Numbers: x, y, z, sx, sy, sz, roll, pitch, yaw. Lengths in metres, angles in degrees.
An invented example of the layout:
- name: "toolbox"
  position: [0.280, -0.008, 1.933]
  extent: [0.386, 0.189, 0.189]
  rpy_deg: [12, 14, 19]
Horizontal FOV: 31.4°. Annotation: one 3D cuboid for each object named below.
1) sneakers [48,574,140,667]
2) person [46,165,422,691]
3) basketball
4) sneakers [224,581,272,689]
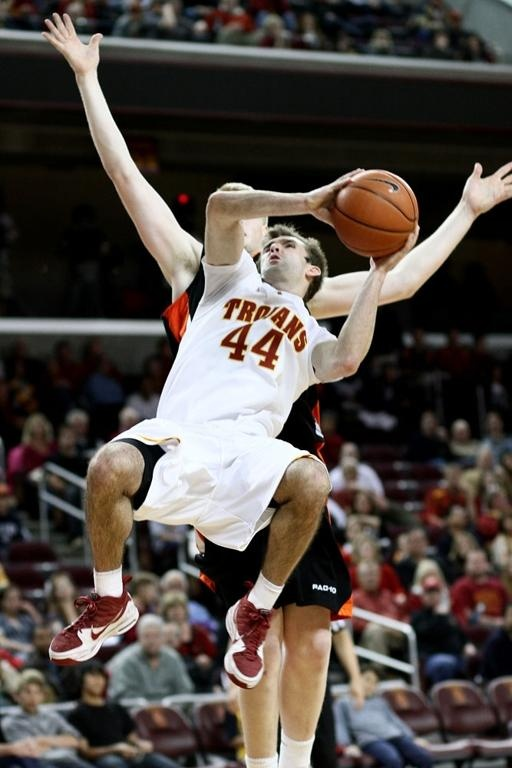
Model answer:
- name: "sneakers"
  position: [-0.439, 0.644, 2.474]
  extent: [0.093, 0.238, 0.266]
  rpy_deg: [23, 22, 35]
- name: "person"
  position: [-0.056, 0.085, 2.700]
  extent: [0.724, 1.560, 0.598]
  rpy_deg: [16, -22, -3]
- name: "basketball"
  position: [0.343, -0.487, 2.644]
  extent: [0.292, 0.254, 0.186]
  rpy_deg: [3, 18, -15]
- name: "sneakers"
  position: [-0.038, 0.694, 2.553]
  extent: [0.109, 0.134, 0.285]
  rpy_deg: [17, 42, -27]
